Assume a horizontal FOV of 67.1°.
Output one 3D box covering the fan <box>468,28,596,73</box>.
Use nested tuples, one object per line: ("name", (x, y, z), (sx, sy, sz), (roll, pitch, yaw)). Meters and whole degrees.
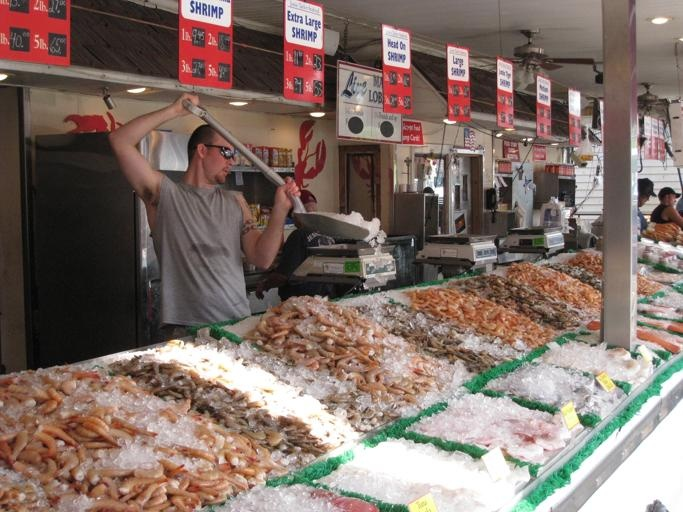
("fan", (2.106, -2.330, 5.816), (1.261, 0.508, 1.221), (-3, 17, -5))

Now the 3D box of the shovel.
("shovel", (-0.299, -0.435, 2.846), (0.997, 0.782, 0.438), (-1, 9, -2))

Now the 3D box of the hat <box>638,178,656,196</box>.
("hat", (4.183, -0.944, 7.077), (0.149, 0.215, 0.513), (4, 10, 27))

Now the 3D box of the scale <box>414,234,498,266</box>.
("scale", (1.172, -0.092, 5.194), (0.655, 0.254, 0.471), (8, 13, 43))

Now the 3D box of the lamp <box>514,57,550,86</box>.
("lamp", (2.099, -2.148, 5.840), (0.362, 0.129, 0.347), (0, 1, -10))

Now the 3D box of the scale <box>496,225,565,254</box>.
("scale", (2.302, -0.184, 6.221), (0.752, 0.320, 0.536), (1, 9, 11))

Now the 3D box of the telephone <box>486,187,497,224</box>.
("telephone", (2.788, -0.945, 9.602), (0.214, 0.638, 0.143), (1, 10, 14))

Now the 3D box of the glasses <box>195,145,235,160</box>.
("glasses", (-0.682, -0.595, 2.912), (0.107, 0.032, 0.100), (13, 6, 19))

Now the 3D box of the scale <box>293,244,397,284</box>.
("scale", (0.011, 0.045, 3.395), (0.676, 0.200, 0.675), (-6, 8, -34))
